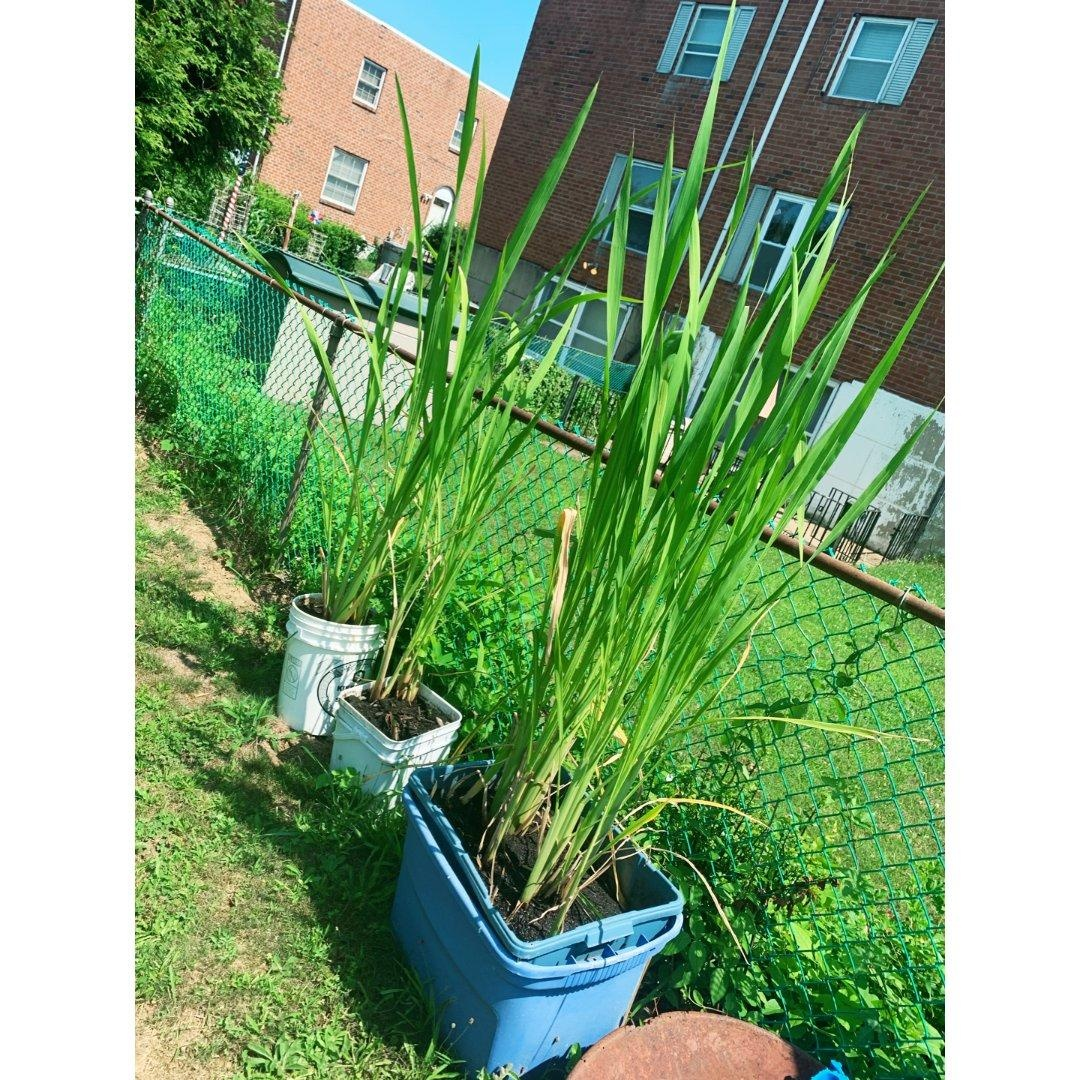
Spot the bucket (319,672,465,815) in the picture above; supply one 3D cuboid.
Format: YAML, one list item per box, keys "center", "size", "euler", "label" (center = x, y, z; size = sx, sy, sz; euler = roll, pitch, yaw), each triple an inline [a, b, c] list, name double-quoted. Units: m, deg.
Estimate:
- center: [-0.398, 0.545, 2.426]
  size: [0.242, 0.238, 0.310]
  euler: [39, 22, 26]
  label: "bucket"

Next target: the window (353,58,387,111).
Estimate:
- center: [-3.912, -10.391, 20.552]
  size: [0.122, 1.142, 0.850]
  euler: [30, 12, 32]
  label: "window"

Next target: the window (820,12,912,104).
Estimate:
- center: [4.090, -6.088, 11.405]
  size: [0.752, 1.331, 0.111]
  euler: [21, 7, 23]
  label: "window"
